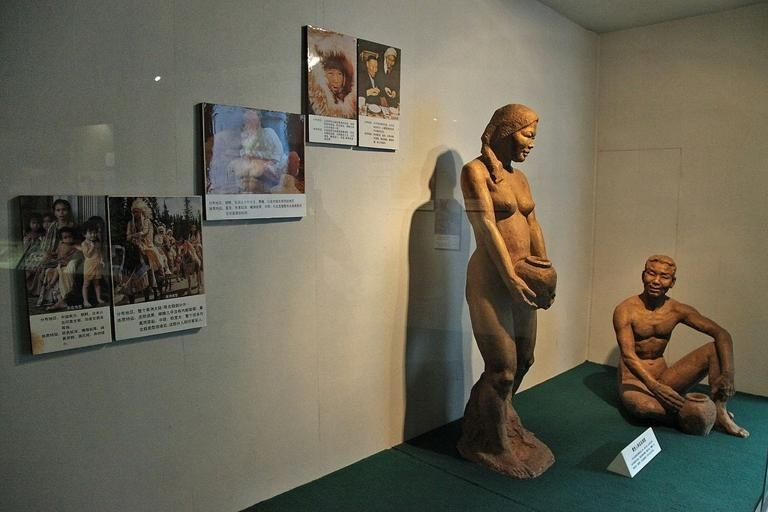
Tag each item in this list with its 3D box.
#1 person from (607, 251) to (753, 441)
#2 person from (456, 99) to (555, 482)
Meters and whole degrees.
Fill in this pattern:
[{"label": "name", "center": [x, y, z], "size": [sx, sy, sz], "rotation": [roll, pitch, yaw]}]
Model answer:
[{"label": "person", "center": [1.818, 0.563, 3.717], "size": [0.589, 1.048, 0.840], "rotation": [-7, 10, -26]}, {"label": "person", "center": [0.814, 0.222, 3.963], "size": [0.632, 2.450, 0.510], "rotation": [1, 8, 12]}]
